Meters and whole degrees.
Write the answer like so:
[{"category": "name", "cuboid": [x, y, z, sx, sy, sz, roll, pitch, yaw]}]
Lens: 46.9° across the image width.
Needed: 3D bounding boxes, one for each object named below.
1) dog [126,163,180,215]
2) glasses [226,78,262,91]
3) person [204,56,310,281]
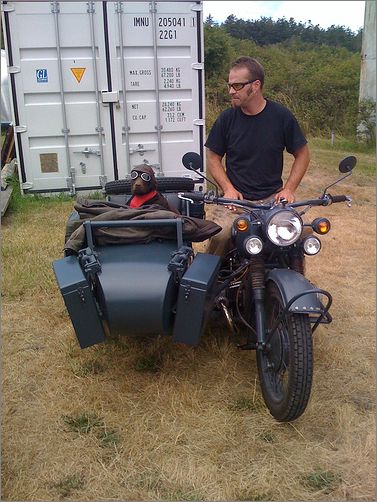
[{"category": "dog", "cuboid": [-0.310, -0.481, 3.473, 0.495, 0.435, 0.365, 9, 21, 20]}, {"category": "glasses", "cuboid": [0.378, -1.168, 3.029, 0.114, 0.033, 0.108, -32, 29, -24]}, {"category": "person", "cuboid": [0.476, -0.581, 3.199, 0.980, 1.481, 0.962, -8, 29, -7]}]
